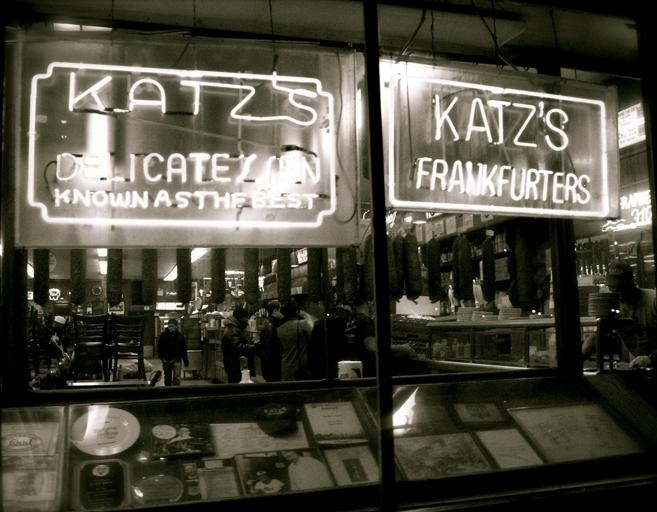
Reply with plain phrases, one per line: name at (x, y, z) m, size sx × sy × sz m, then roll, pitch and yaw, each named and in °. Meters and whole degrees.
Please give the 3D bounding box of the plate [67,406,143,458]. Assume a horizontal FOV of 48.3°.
plate at (-1.212, 0.946, 3.982) m, size 0.359 × 0.274 × 0.235 m, roll -3°, pitch 1°, yaw -14°

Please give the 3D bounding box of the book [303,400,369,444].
book at (0.042, 0.966, 4.259) m, size 0.217 × 0.057 × 0.244 m, roll 2°, pitch 26°, yaw -14°

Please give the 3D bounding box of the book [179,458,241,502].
book at (-0.608, 1.159, 3.814) m, size 0.283 × 0.200 × 0.226 m, roll -3°, pitch 1°, yaw -12°

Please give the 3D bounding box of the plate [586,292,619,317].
plate at (2.233, 0.402, 6.004) m, size 0.195 × 0.152 × 0.191 m, roll 7°, pitch -10°, yaw -41°
